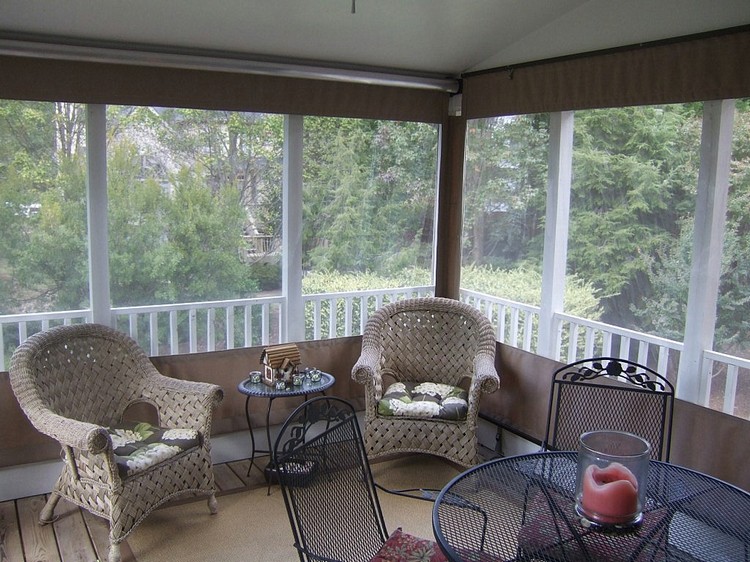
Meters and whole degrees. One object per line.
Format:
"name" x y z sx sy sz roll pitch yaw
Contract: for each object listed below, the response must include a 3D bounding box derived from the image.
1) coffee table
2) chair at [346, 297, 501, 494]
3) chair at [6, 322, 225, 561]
"coffee table" -0.757 0.964 4.478 0.777 0.820 0.718 -1 2 -37
"chair" 0.358 0.786 4.861 1.184 1.603 1.231 1 2 4
"chair" -1.579 0.866 4.242 1.246 1.596 1.307 7 11 35
